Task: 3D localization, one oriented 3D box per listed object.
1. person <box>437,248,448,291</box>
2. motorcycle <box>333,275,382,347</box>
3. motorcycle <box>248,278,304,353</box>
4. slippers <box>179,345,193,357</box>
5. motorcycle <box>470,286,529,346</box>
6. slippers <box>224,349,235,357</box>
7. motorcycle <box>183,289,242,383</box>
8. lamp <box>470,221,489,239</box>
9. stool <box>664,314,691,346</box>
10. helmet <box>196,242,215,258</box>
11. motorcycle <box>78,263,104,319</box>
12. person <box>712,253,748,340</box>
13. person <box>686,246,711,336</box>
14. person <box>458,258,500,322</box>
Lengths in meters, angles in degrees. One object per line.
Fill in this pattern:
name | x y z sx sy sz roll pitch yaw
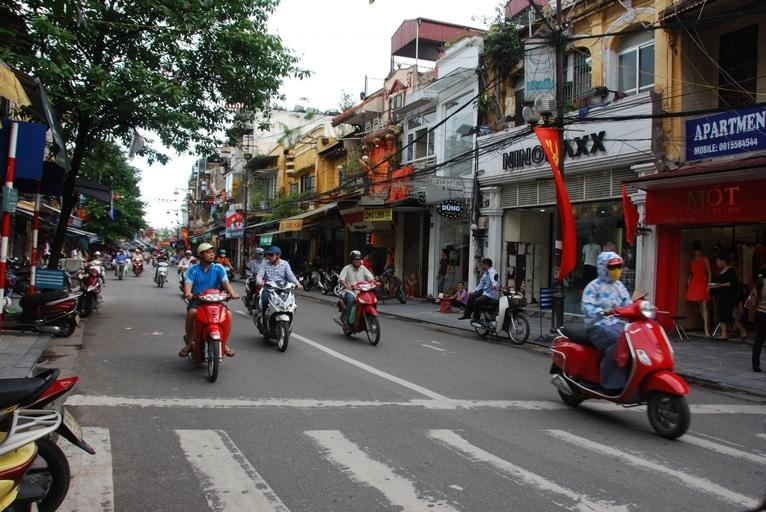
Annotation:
person | 2.311 0.500 26.188 0.478 1.820 1.475 0 -3 5
motorcycle | -0.569 1.315 15.812 0.598 1.484 1.362 1 -3 -36
motorcycle | -2.331 1.292 14.804 0.631 1.490 1.631 1 -3 -20
slippers | -3.633 1.779 12.611 0.197 0.134 0.375 -6 -12 13
motorcycle | 2.970 1.510 16.970 1.014 1.339 1.395 0 -3 -7
slippers | -2.836 1.808 12.433 0.147 0.120 0.290 2 1 -12
motorcycle | -3.068 1.389 12.063 0.590 1.586 1.207 1 -3 -22
lamp | 3.440 -0.895 24.055 0.586 0.843 0.616 0 -1 -21
stool | 7.585 1.902 17.818 0.751 0.995 0.616 0 -4 34
helmet | -3.271 -0.125 12.387 0.285 0.151 0.202 -20 0 25
motorcycle | -8.239 0.961 19.041 0.549 1.433 2.210 1 -3 -23
person | 8.718 1.014 17.180 0.764 2.186 1.476 -1 -3 28
person | 8.190 0.836 17.631 0.579 2.504 0.676 -1 -2 26
person | 2.524 0.935 17.256 0.958 1.523 1.608 8 -19 -17
